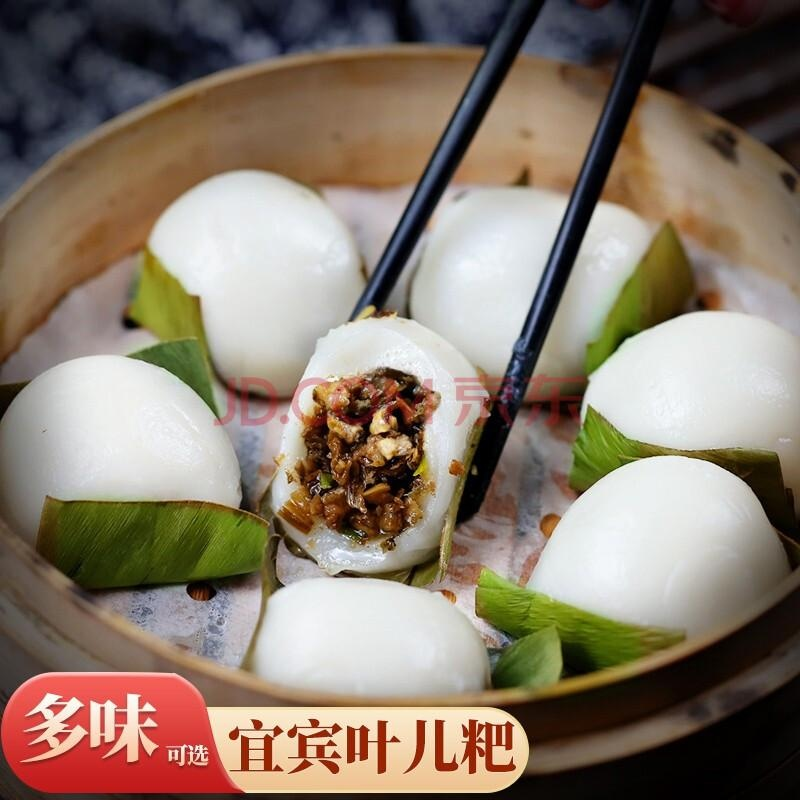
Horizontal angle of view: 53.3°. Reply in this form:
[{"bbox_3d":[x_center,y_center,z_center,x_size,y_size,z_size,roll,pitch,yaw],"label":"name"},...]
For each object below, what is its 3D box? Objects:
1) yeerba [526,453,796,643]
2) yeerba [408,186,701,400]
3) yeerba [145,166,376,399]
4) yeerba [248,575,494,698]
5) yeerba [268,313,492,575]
[{"bbox_3d":[0.205,0.121,0.650,0.191,0.094,0.141,-24,72,-10],"label":"yeerba"},{"bbox_3d":[0.154,-0.139,0.860,0.233,0.129,0.240,-21,69,-1],"label":"yeerba"},{"bbox_3d":[-0.145,-0.127,0.845,0.196,0.132,0.236,-15,87,-4],"label":"yeerba"},{"bbox_3d":[-0.019,0.152,0.562,0.111,0.086,0.065,2,88,-7],"label":"yeerba"},{"bbox_3d":[-0.024,0.044,0.761,0.179,0.063,0.249,18,70,5],"label":"yeerba"}]
